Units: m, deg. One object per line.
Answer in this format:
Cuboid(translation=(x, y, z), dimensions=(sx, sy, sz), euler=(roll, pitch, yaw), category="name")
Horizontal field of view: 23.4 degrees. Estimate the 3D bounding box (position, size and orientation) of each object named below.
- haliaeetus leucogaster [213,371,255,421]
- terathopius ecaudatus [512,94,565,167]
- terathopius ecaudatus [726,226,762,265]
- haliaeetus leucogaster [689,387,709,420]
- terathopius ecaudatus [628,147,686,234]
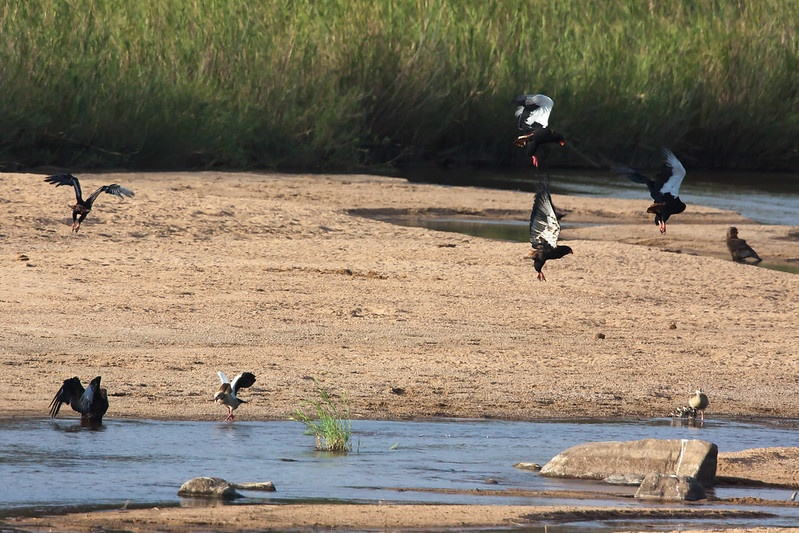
Cuboid(translation=(-3.350, 2.549, 38.827), dimensions=(0.695, 0.967, 0.826), euler=(8, 13, 10), category="haliaeetus leucogaster")
Cuboid(translation=(2.809, -2.964, 40.920), dimensions=(1.574, 1.123, 2.078), euler=(7, -11, 6), category="terathopius ecaudatus")
Cuboid(translation=(8.586, -0.512, 49.388), dimensions=(0.939, 0.865, 1.231), euler=(13, 15, 32), category="terathopius ecaudatus")
Cuboid(translation=(6.079, 2.751, 39.915), dimensions=(0.409, 0.623, 0.897), euler=(7, 13, 9), category="haliaeetus leucogaster")
Cuboid(translation=(5.394, -1.507, 40.072), dimensions=(1.220, 1.430, 1.646), euler=(15, -23, -14), category="terathopius ecaudatus")
